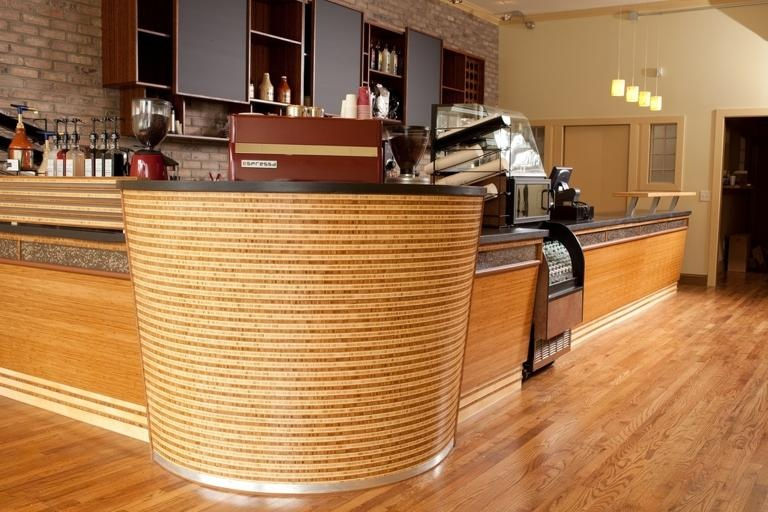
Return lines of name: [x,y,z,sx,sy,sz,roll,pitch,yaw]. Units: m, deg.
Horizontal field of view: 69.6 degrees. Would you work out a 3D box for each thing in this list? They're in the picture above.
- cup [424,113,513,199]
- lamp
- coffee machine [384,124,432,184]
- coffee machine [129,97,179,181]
cup: [0.613,-0.774,4.103,0.604,0.492,0.332,2,9,4]
lamp: [4.058,-3.099,8.745,0.782,1.575,0.862,5,10,23]
coffee machine: [0.124,-0.636,3.597,0.318,0.338,0.323,6,12,30]
coffee machine: [-1.331,-0.657,3.134,0.218,0.438,0.205,-3,10,-22]
